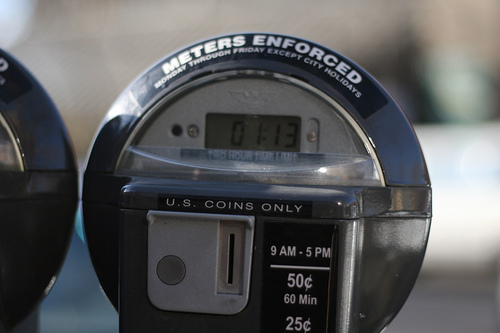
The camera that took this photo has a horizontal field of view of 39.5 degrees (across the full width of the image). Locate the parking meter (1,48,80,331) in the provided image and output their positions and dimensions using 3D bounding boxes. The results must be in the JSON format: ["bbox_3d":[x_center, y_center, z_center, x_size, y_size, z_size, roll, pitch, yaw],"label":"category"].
[{"bbox_3d":[-0.820,0.096,2.707,0.298,1.108,0.126,1,1,-20],"label":"parking meter"}]
